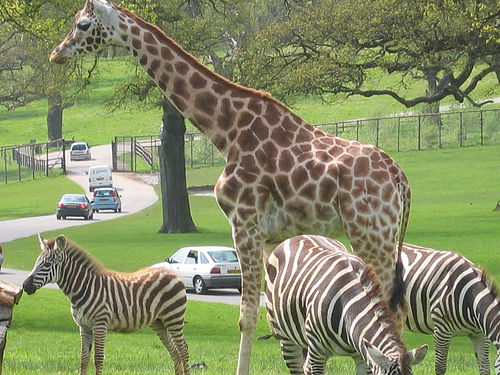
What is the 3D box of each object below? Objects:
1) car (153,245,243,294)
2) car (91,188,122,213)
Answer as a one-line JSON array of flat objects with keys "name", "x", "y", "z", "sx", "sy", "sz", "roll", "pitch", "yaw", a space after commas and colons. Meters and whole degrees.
[{"name": "car", "x": -1.642, "y": 3.144, "z": 39.608, "sx": 1.852, "sy": 1.281, "sz": 2.847, "roll": 1, "pitch": 4, "yaw": -44}, {"name": "car", "x": -9.285, "y": 0.591, "z": 64.511, "sx": 1.617, "sy": 1.642, "sz": 3.183, "roll": -1, "pitch": 9, "yaw": -8}]
